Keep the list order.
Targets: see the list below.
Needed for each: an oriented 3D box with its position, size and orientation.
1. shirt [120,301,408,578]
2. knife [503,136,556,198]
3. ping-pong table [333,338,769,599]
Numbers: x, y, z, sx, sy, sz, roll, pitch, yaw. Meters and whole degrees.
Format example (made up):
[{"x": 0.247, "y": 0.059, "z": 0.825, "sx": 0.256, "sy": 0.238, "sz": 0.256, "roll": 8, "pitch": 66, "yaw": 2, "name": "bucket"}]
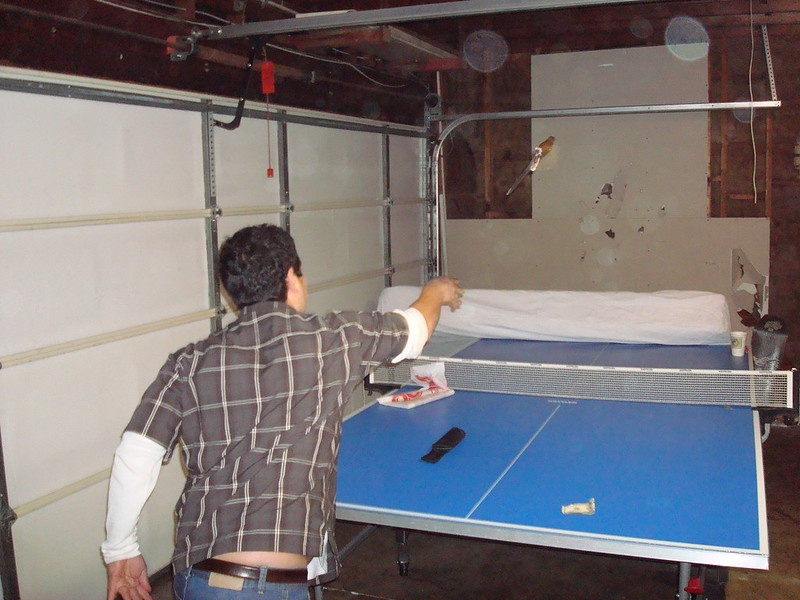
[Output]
[{"x": -0.432, "y": 0.413, "z": 2.092, "sx": 0.986, "sy": 0.815, "sz": 0.292, "roll": 6, "pitch": -7, "yaw": 0, "name": "shirt"}, {"x": 0.781, "y": -0.810, "z": 3.786, "sx": 0.516, "sy": 0.157, "sz": 0.106, "roll": -34, "pitch": -7, "yaw": -23, "name": "knife"}, {"x": 0.691, "y": 0.746, "z": 2.767, "sx": 1.132, "sy": 0.409, "sz": 1.727, "roll": 0, "pitch": 9, "yaw": 16, "name": "ping-pong table"}]
